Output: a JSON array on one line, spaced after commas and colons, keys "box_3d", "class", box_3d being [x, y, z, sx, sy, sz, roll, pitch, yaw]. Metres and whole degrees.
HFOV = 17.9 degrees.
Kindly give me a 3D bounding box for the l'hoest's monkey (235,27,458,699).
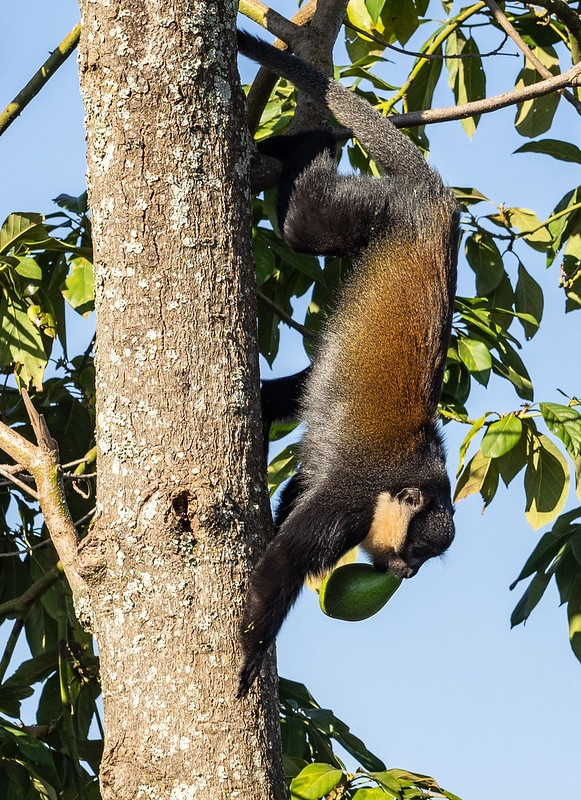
[{"box_3d": [0.170, -0.185, 5.690, 0.775, 2.264, 0.587, 3, 4, 15], "class": "l'hoest's monkey"}]
